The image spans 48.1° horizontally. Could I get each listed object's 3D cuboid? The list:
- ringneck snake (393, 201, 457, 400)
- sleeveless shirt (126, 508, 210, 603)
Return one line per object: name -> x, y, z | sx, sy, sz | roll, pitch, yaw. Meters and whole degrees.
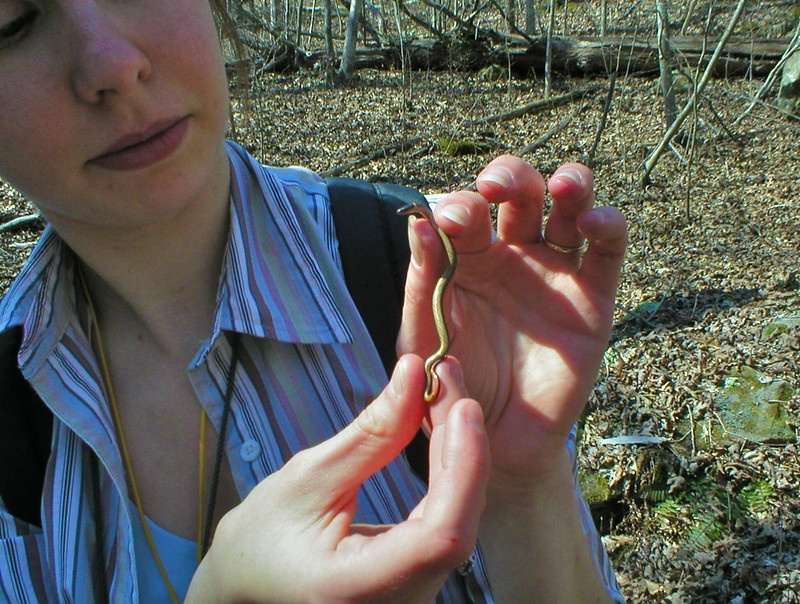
ringneck snake -> 0.132, -0.001, 3.446 | 0.213, 0.783, 0.054 | -1, -2, 42
sleeveless shirt -> -0.960, 1.061, 3.648 | 0.197, 0.455, 0.209 | -4, -11, -6
